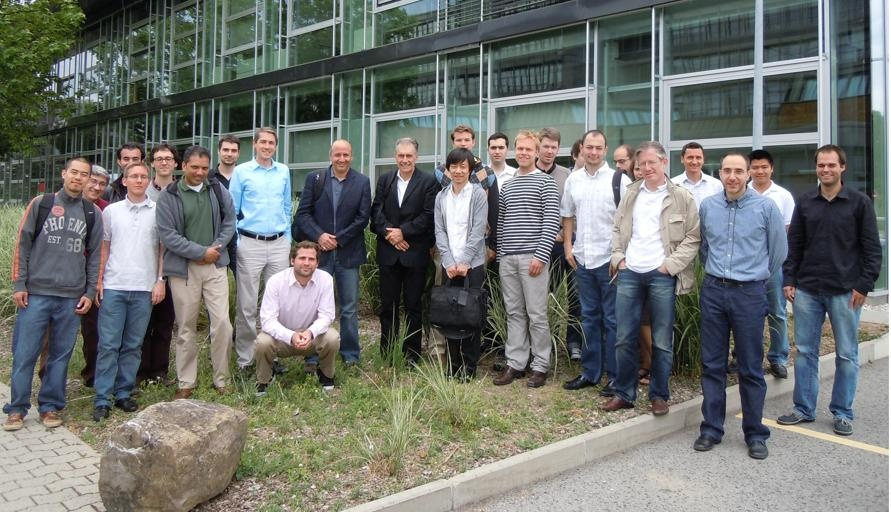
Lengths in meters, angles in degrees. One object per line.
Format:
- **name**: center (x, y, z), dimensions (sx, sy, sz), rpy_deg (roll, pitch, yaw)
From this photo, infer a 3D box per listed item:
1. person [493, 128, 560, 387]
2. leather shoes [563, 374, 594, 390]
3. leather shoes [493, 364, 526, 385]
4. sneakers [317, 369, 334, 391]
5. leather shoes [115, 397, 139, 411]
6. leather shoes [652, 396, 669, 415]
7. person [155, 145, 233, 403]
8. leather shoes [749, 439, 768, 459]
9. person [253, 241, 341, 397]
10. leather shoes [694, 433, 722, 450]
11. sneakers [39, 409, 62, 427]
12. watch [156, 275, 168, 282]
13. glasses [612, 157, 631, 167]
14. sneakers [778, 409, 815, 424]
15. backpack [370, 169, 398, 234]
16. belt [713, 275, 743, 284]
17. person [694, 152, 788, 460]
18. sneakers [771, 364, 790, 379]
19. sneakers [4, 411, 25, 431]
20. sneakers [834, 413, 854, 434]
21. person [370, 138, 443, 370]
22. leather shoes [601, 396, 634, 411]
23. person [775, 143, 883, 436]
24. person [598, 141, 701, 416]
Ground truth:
- **person**: center (1.253, 0.014, 10.041), dimensions (0.980, 3.915, 0.707), rpy_deg (0, 4, 9)
- **leather shoes**: center (1.996, 1.926, 9.912), dimensions (0.528, 0.203, 0.191), rpy_deg (3, -2, -10)
- **leather shoes**: center (0.968, 1.845, 10.078), dimensions (0.577, 0.252, 0.213), rpy_deg (2, -5, -38)
- **sneakers**: center (-1.811, 1.881, 9.813), dimensions (0.184, 0.285, 0.298), rpy_deg (-4, 4, -43)
- **leather shoes**: center (-4.595, 2.130, 9.388), dimensions (0.388, 0.151, 0.156), rpy_deg (0, 4, 22)
- **leather shoes**: center (3.056, 2.116, 9.209), dimensions (0.311, 0.222, 0.227), rpy_deg (-1, 4, -2)
- **person**: center (-3.672, 0.212, 9.661), dimensions (1.080, 3.679, 0.554), rpy_deg (-2, 4, -18)
- **leather shoes**: center (4.134, 2.555, 8.617), dimensions (0.244, 0.209, 0.229), rpy_deg (1, 4, 23)
- **person**: center (-2.235, 0.890, 9.659), dimensions (1.168, 2.224, 0.550), rpy_deg (-2, 4, -18)
- **leather shoes**: center (3.544, 2.521, 8.840), dimensions (0.172, 0.135, 0.380), rpy_deg (-6, -8, 45)
- **sneakers**: center (-5.527, 2.271, 9.110), dimensions (0.160, 0.141, 0.360), rpy_deg (-1, 0, -41)
- **watch**: center (-4.143, 0.330, 9.545), dimensions (0.092, 0.037, 0.093), rpy_deg (-9, -18, 24)
- **glasses**: center (2.950, -1.540, 10.822), dimensions (0.215, 0.063, 0.200), rpy_deg (8, -7, -33)
- **sneakers**: center (5.063, 2.325, 9.420), dimensions (0.587, 0.210, 0.215), rpy_deg (1, -5, -5)
- **backpack**: center (-1.033, -0.885, 10.525), dimensions (0.531, 0.904, 0.332), rpy_deg (-3, -7, 21)
- **belt**: center (3.806, 0.334, 8.788), dimensions (0.326, 0.090, 0.056), rpy_deg (1, 4, 24)
- **person**: center (3.926, 0.612, 8.767), dimensions (1.027, 4.017, 0.759), rpy_deg (1, 4, 22)
- **sneakers**: center (5.245, 1.819, 10.228), dimensions (0.289, 0.165, 0.117), rpy_deg (32, -23, -36)
- **sneakers**: center (-5.952, 2.292, 8.984), dimensions (0.138, 0.143, 0.338), rpy_deg (1, -5, -17)
- **sneakers**: center (5.549, 2.357, 9.159), dimensions (0.153, 0.141, 0.372), rpy_deg (-1, 9, 2)
- **person**: center (-0.658, -0.091, 10.443), dimensions (1.079, 3.581, 0.638), rpy_deg (-1, 4, -3)
- **leather shoes**: center (2.413, 2.120, 9.366), dimensions (0.561, 0.216, 0.185), rpy_deg (4, -2, -11)
- **person**: center (5.437, 0.437, 9.215), dimensions (1.157, 4.043, 0.681), rpy_deg (1, 5, 27)
- **person**: center (2.881, 0.306, 9.175), dimensions (1.207, 3.834, 0.596), rpy_deg (1, 4, 20)
